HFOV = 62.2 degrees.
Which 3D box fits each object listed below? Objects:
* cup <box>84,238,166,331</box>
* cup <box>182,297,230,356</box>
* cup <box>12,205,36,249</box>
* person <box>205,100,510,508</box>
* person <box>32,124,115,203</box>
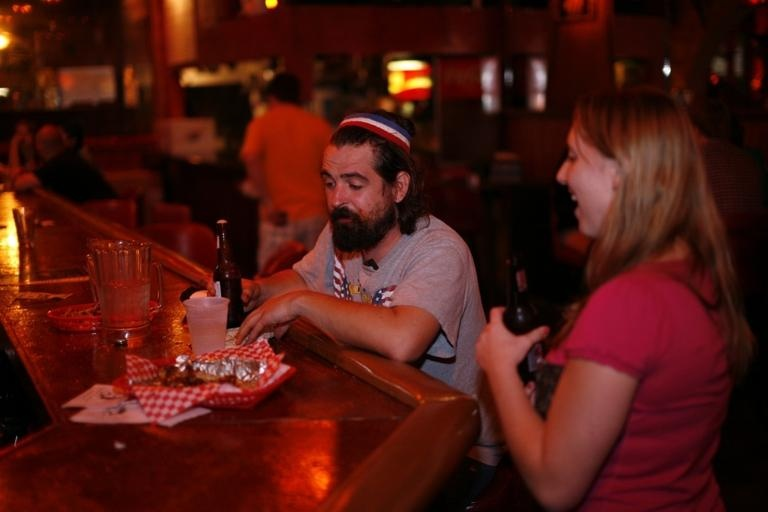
[{"bbox_3d":[-0.795,0.093,1.922,0.182,0.261,0.149,-1,6,1],"label":"cup"},{"bbox_3d":[-0.484,0.194,1.814,0.142,0.156,0.142,-1,9,0],"label":"cup"},{"bbox_3d":[-1.729,-0.138,3.072,0.081,0.196,0.178,-4,6,-29],"label":"cup"},{"bbox_3d":[-0.085,0.071,2.613,1.092,1.474,1.252,-4,7,-34],"label":"person"},{"bbox_3d":[-2.561,-0.754,5.228,0.434,0.344,1.029,22,-11,-7],"label":"person"}]
